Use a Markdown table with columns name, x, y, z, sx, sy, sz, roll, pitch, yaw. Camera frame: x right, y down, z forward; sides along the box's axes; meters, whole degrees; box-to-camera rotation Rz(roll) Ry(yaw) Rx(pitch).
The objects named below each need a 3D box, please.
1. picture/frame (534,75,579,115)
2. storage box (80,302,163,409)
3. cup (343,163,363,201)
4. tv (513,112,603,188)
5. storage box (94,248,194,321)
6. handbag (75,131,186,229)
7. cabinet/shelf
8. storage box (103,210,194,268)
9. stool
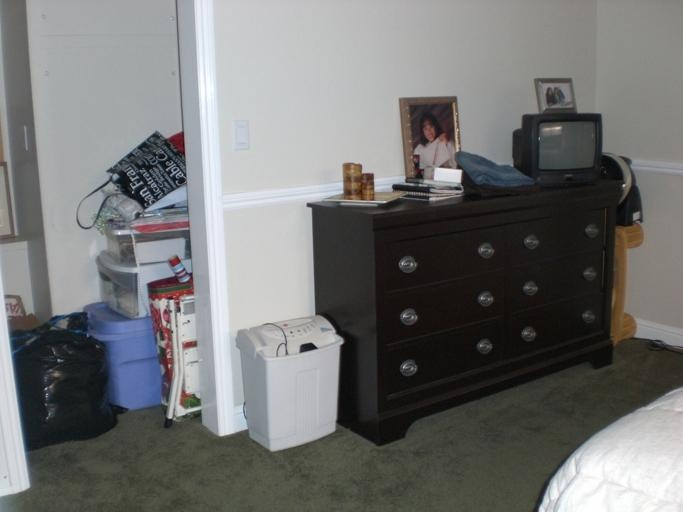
| name | x | y | z | sx | sy | sz | roll | pitch | yaw |
| --- | --- | --- | --- | --- | --- | --- | --- | --- | --- |
| picture/frame | 1.437 | -1.069 | 3.871 | 0.023 | 0.234 | 0.310 | -29 | 25 | -23 |
| storage box | -1.227 | 0.560 | 3.553 | 0.489 | 0.631 | 0.491 | -5 | 9 | -42 |
| cup | 0.056 | -0.394 | 3.102 | 0.110 | 0.191 | 0.115 | -1 | 6 | 0 |
| tv | 1.335 | -0.644 | 3.573 | 0.457 | 0.428 | 0.436 | -1 | 7 | 4 |
| storage box | -1.214 | 0.177 | 3.573 | 0.511 | 0.295 | 0.549 | -1 | 9 | -24 |
| handbag | -1.152 | -0.449 | 3.447 | 0.717 | 0.443 | 0.171 | -34 | -10 | -12 |
| cabinet/shelf | 0.800 | 0.203 | 3.401 | 1.649 | 1.208 | 0.620 | -9 | 14 | -22 |
| storage box | -1.139 | -0.177 | 3.357 | 0.372 | 0.182 | 0.376 | -6 | 16 | -29 |
| stool | -0.908 | 0.525 | 3.192 | 0.264 | 0.732 | 0.403 | -10 | 17 | -19 |
